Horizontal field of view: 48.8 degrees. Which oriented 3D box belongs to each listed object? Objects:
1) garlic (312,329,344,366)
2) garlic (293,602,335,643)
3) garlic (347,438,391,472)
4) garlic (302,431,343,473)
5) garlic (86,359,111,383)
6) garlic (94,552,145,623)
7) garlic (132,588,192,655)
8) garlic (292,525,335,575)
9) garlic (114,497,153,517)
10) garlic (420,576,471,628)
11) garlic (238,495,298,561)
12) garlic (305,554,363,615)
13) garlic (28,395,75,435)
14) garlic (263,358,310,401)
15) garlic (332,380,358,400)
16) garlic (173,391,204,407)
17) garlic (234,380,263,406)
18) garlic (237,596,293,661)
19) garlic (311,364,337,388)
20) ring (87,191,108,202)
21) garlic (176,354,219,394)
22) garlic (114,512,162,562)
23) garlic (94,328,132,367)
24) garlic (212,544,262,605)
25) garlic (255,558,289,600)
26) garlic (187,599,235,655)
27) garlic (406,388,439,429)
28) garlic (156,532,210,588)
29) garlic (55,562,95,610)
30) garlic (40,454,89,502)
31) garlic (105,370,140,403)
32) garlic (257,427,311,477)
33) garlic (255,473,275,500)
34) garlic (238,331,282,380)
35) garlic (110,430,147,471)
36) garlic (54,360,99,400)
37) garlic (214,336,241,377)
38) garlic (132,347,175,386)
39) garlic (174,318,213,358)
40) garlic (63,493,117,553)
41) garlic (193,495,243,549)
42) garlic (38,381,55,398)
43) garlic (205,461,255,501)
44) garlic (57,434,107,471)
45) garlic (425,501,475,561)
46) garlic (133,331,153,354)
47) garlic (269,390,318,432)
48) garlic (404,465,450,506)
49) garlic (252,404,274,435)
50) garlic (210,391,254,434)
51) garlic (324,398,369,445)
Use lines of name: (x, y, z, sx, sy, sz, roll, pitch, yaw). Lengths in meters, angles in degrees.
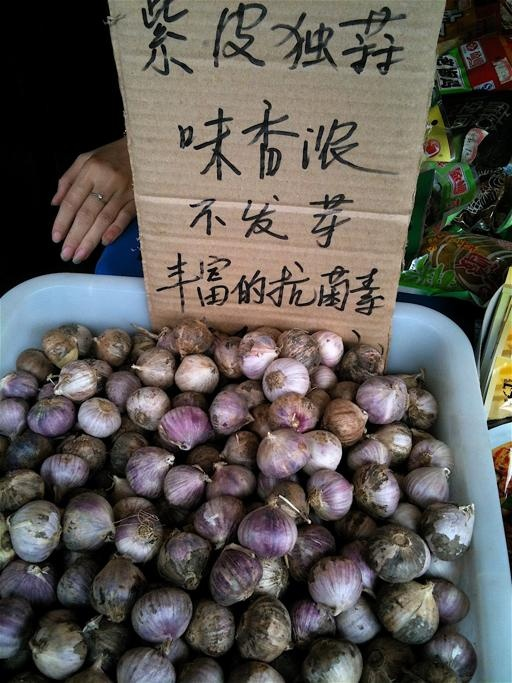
garlic: (0.186, 0.017, 1.460, 0.086, 0.096, 0.083, -15, 22, -33)
garlic: (0.094, 0.501, 1.029, 0.074, 0.057, 0.044, 28, 13, -17)
garlic: (0.243, 0.243, 1.223, 0.075, 0.090, 0.072, 36, 62, -26)
garlic: (0.141, 0.227, 1.224, 0.091, 0.097, 0.084, -4, 6, 1)
garlic: (-0.396, 0.071, 1.449, 0.062, 0.034, 0.052, 24, 6, 24)
garlic: (-0.251, 0.445, 1.027, 0.101, 0.075, 0.118, 11, 30, -19)
garlic: (-0.162, 0.467, 0.976, 0.091, 0.074, 0.094, 26, 51, 21)
garlic: (0.107, 0.396, 1.065, 0.065, 0.062, 0.083, 29, 14, -23)
garlic: (-0.256, 0.336, 1.160, 0.050, 0.026, 0.048, -13, 19, -18)
garlic: (0.373, 0.486, 1.060, 0.066, 0.062, 0.073, 2, 50, -52)
garlic: (0.024, 0.352, 1.051, 0.116, 0.113, 0.106, 2, 76, 17)
garlic: (0.143, 0.424, 0.995, 0.103, 0.105, 0.097, -5, 73, 0)
garlic: (-0.465, 0.170, 1.291, 0.095, 0.088, 0.090, 1, 23, 6)
garlic: (0.057, 0.080, 1.314, 0.098, 0.092, 0.097, -2, 12, 40)
garlic: (0.214, 0.118, 1.351, 0.042, 0.026, 0.049, -29, 17, -30)
garlic: (-0.158, 0.138, 1.332, 0.046, 0.029, 0.045, 8, -8, -33)
garlic: (-0.011, 0.121, 1.335, 0.049, 0.062, 0.033, 6, 79, 40)
garlic: (0.012, 0.492, 0.975, 0.099, 0.062, 0.094, -19, 50, -19)
garlic: (0.166, 0.091, 1.420, 0.056, 0.052, 0.053, 17, 47, 10)
ring: (-0.602, -0.549, 2.149, 0.051, 0.021, 0.043, 29, 23, -2)
garlic: (-0.148, 0.088, 1.390, 0.097, 0.082, 0.096, 14, 48, 11)
garlic: (-0.225, 0.374, 1.078, 0.096, 0.091, 0.088, 6, 81, -5)
garlic: (-0.377, 0.014, 1.544, 0.098, 0.093, 0.093, 0, 59, 40)
garlic: (-0.034, 0.410, 1.020, 0.084, 0.060, 0.098, -34, 56, -5)
garlic: (0.032, 0.434, 1.037, 0.064, 0.073, 0.043, 15, 20, -33)
garlic: (-0.083, 0.510, 1.003, 0.083, 0.083, 0.079, 4, 76, -41)
garlic: (0.392, 0.167, 1.384, 0.040, 0.088, 0.100, 9, -8, -43)
garlic: (-0.135, 0.401, 1.047, 0.093, 0.076, 0.089, 20, 49, 16)
garlic: (-0.336, 0.445, 1.046, 0.067, 0.042, 0.072, 5, 85, -15)
garlic: (-0.420, 0.291, 1.229, 0.108, 0.112, 0.102, -1, 81, 27)
garlic: (-0.331, 0.112, 1.442, 0.071, 0.045, 0.079, 0, 58, -14)
garlic: (0.051, 0.223, 1.169, 0.096, 0.094, 0.093, -26, 37, 12)
garlic: (0.018, 0.299, 1.170, 0.050, 0.055, 0.047, 1, 6, 0)
garlic: (0.009, 0.050, 1.375, 0.107, 0.100, 0.142, -3, -6, 21)
garlic: (-0.286, 0.248, 1.324, 0.077, 0.049, 0.084, -3, 53, 22)
garlic: (-0.422, 0.085, 1.375, 0.103, 0.074, 0.078, -22, 7, -15)
garlic: (-0.056, 0.040, 1.440, 0.055, 0.075, 0.094, -27, 40, 26)
garlic: (-0.254, 0.065, 1.414, 0.059, 0.058, 0.080, 47, 16, 28)
garlic: (-0.159, -0.008, 1.471, 0.082, 0.058, 0.093, 20, 79, -5)
garlic: (-0.337, 0.353, 1.119, 0.102, 0.074, 0.106, -14, 49, -15)
garlic: (-0.064, 0.361, 1.096, 0.095, 0.084, 0.090, 12, 31, -10)
garlic: (-0.511, 0.122, 1.388, 0.037, 0.025, 0.046, -31, 22, -8)
garlic: (-0.049, 0.286, 1.161, 0.080, 0.077, 0.077, -7, 41, 23)
garlic: (-0.380, 0.240, 1.266, 0.089, 0.087, 0.081, 31, 51, -34)
garlic: (0.367, 0.357, 1.080, 0.085, 0.066, 0.090, 10, 47, 7)
garlic: (-0.305, 0.008, 1.536, 0.055, 0.037, 0.062, -14, 37, -12)
garlic: (0.083, 0.154, 1.202, 0.092, 0.083, 0.088, 5, 6, 5)
garlic: (0.370, 0.306, 1.187, 0.102, 0.074, 0.084, 3, 47, 0)
garlic: (0.022, 0.181, 1.291, 0.051, 0.060, 0.036, 19, 21, 37)
garlic: (-0.063, 0.155, 1.280, 0.108, 0.063, 0.105, 15, 61, -24)
garlic: (0.185, 0.181, 1.271, 0.109, 0.070, 0.096, 14, 69, 0)
